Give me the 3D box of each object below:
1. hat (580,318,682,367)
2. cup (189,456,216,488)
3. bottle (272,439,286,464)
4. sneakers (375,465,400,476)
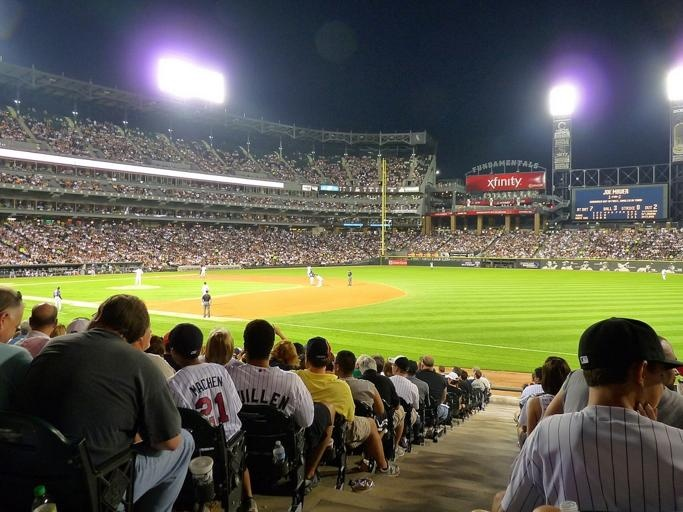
[{"bbox_3d":[1.892,0.571,3.855,0.545,0.270,0.346,-6,-6,-7],"label":"hat"},{"bbox_3d":[-1.121,1.733,4.660,0.210,0.194,0.206,1,2,0],"label":"cup"},{"bbox_3d":[-0.575,1.825,5.411,0.115,0.208,0.188,2,-2,-5],"label":"bottle"},{"bbox_3d":[0.520,2.385,6.421,0.237,0.103,0.092,0,-2,-3],"label":"sneakers"}]
